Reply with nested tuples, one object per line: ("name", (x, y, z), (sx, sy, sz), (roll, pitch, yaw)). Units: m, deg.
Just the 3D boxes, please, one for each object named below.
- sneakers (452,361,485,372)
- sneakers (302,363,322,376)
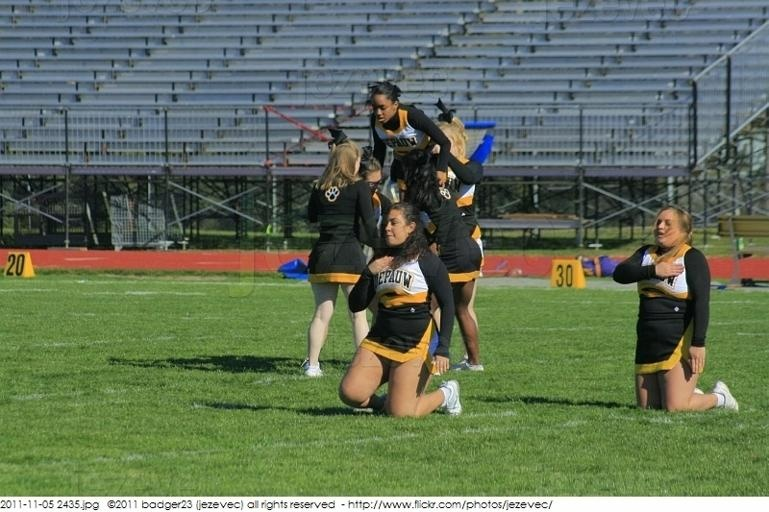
("sneakers", (1.787, 2.359, 35.165), (0.706, 0.273, 0.248), (4, 2, 13))
("sneakers", (-1.554, 2.435, 34.761), (0.181, 0.200, 0.501), (2, -1, 36))
